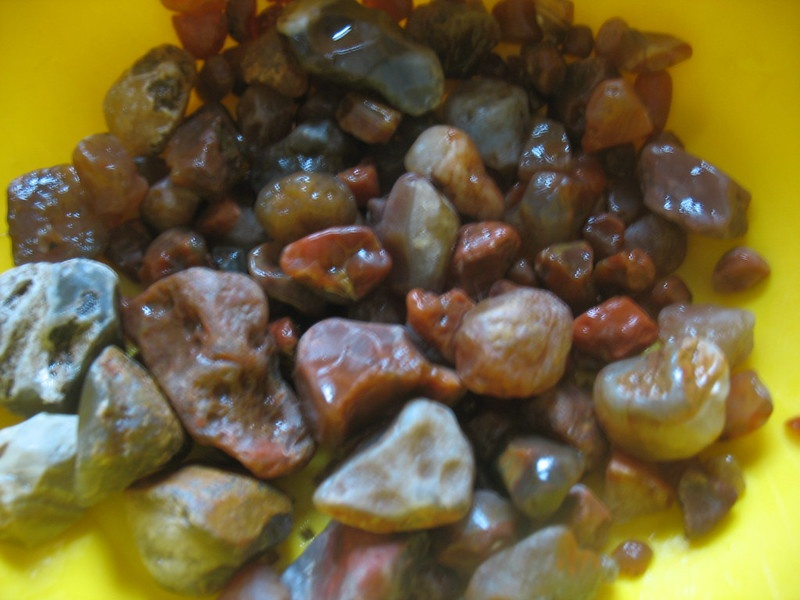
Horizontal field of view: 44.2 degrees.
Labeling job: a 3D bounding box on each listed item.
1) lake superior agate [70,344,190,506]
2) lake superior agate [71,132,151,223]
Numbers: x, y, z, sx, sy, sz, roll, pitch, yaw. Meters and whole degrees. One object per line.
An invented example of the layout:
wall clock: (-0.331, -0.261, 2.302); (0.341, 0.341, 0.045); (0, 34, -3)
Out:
lake superior agate: (-0.323, 0.162, 1.196); (0.120, 0.135, 0.125); (10, 43, 0)
lake superior agate: (-0.372, -0.155, 1.262); (0.071, 0.037, 0.128); (-7, 88, -18)
